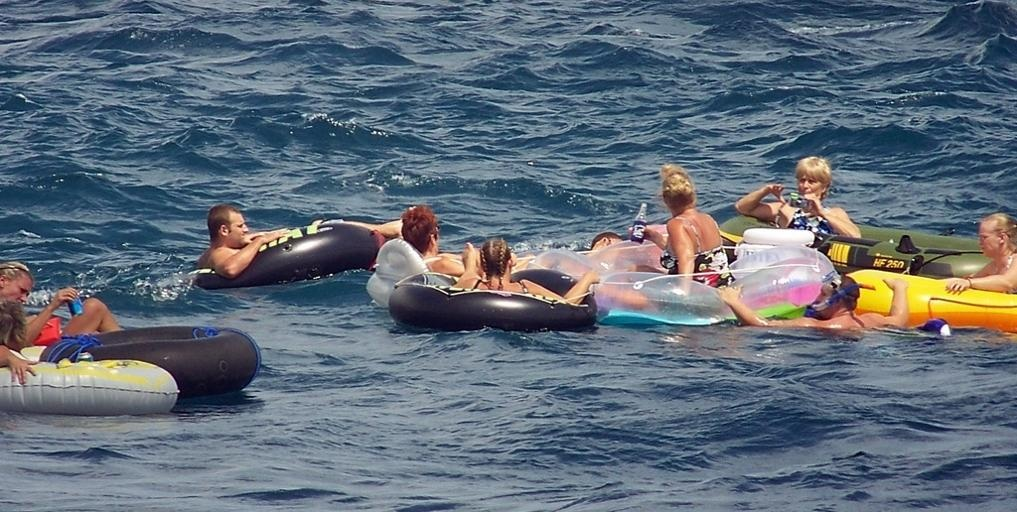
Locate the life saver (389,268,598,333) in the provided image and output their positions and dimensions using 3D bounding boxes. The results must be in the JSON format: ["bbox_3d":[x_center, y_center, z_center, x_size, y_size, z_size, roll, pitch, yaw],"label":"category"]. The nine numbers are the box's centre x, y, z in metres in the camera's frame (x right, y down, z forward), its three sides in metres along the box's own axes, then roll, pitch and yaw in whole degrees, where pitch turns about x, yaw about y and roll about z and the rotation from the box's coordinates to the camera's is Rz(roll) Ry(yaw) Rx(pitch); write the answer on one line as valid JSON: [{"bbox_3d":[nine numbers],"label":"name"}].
[{"bbox_3d":[-0.567,0.789,35.222,3.634,0.514,2.506,0,19,-1],"label":"life saver"}]
